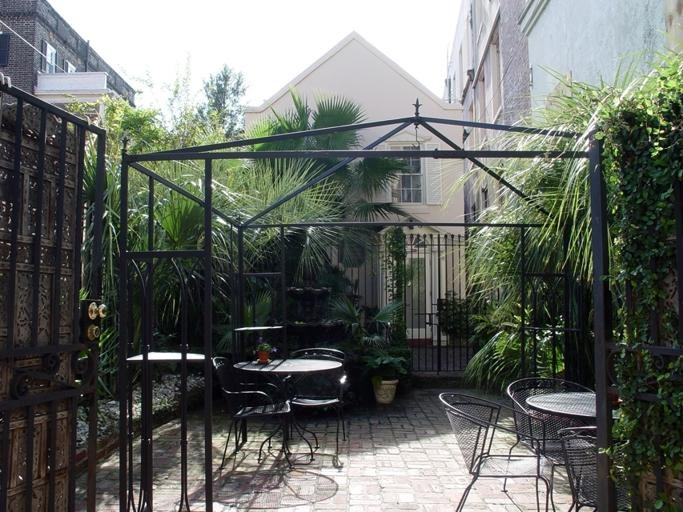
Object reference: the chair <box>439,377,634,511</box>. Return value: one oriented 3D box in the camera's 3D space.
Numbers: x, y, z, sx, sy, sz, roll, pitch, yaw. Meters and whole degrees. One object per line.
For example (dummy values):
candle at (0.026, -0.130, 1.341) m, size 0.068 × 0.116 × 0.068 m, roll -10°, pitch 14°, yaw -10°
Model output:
chair at (1.408, 1.548, 4.857) m, size 1.074 × 0.787 × 1.115 m, roll 8°, pitch -18°, yaw -27°

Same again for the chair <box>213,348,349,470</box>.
chair at (-0.642, 1.597, 6.518) m, size 1.320 × 1.282 × 1.232 m, roll -1°, pitch -3°, yaw 1°

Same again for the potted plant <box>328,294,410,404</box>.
potted plant at (0.492, 1.438, 9.075) m, size 1.154 × 1.504 × 1.493 m, roll 0°, pitch 0°, yaw 3°

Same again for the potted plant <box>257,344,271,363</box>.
potted plant at (-0.853, 1.090, 6.451) m, size 0.170 × 0.206 × 0.180 m, roll 0°, pitch -17°, yaw -1°
